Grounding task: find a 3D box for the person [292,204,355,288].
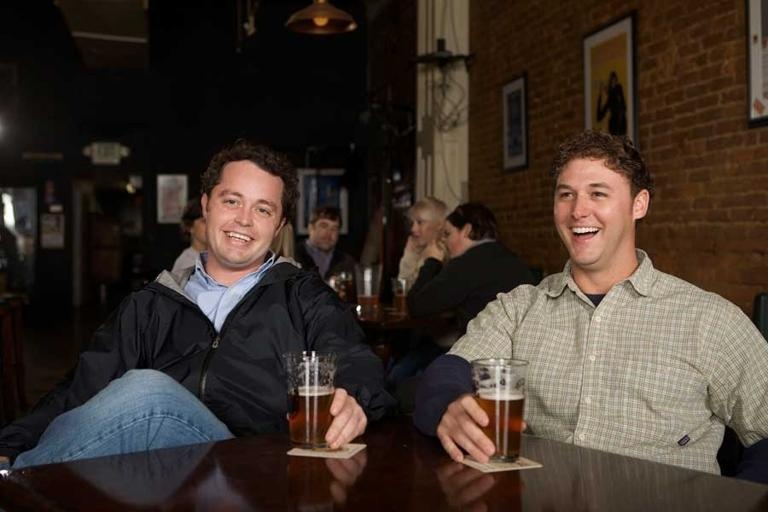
[{"bbox_3d":[-0.572,-0.096,5.734,0.876,0.704,0.412,7,-4,-18],"label":"person"}]
